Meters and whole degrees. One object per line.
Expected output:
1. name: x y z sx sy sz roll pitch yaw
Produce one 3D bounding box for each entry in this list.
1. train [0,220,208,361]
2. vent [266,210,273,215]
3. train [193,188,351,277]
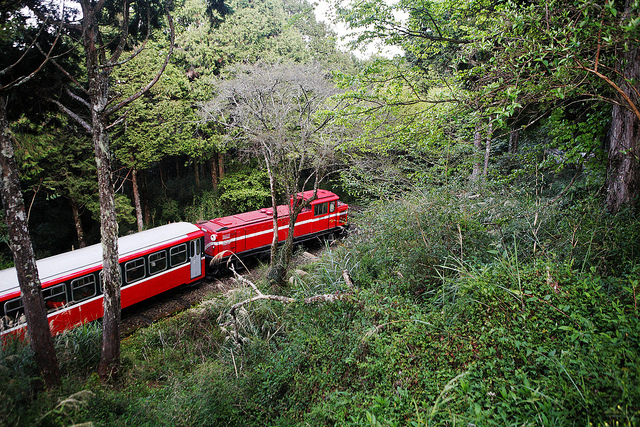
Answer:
1. train: -6.728 2.105 13.041 2.838 2.533 6.738 -1 9 24
2. vent: -2.096 -0.022 17.478 0.202 0.054 0.203 4 21 8
3. train: -1.809 0.605 18.616 7.323 2.588 1.772 -13 27 -37
